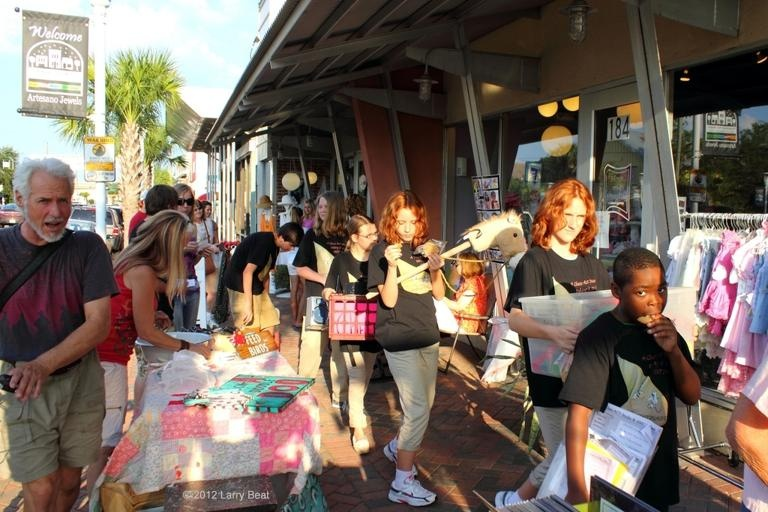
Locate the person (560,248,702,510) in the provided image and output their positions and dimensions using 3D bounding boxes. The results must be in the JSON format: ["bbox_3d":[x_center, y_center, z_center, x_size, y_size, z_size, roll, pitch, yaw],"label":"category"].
[{"bbox_3d":[1.221,0.625,2.548,0.816,1.330,0.341,-2,6,-27],"label":"person"}]

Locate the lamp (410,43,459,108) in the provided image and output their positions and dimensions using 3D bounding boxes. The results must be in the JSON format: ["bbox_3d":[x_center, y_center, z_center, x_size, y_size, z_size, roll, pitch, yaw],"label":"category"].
[{"bbox_3d":[0.874,-3.019,8.477,0.697,0.706,0.310,16,17,12],"label":"lamp"}]

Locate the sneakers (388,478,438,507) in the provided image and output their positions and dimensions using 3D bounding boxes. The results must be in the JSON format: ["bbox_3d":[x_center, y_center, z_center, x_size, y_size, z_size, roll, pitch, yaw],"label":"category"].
[{"bbox_3d":[0.242,1.932,4.223,0.401,0.259,0.179,3,1,2],"label":"sneakers"}]

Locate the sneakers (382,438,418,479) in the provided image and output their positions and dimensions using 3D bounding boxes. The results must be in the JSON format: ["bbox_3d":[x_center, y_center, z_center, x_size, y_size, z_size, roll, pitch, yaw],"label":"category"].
[{"bbox_3d":[0.104,1.885,4.654,0.174,0.254,0.532,7,17,-19],"label":"sneakers"}]

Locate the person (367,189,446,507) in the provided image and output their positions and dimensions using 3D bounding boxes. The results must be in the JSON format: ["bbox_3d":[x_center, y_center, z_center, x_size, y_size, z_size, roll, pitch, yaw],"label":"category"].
[{"bbox_3d":[0.220,0.735,4.320,0.590,2.568,0.699,-2,5,-22],"label":"person"}]

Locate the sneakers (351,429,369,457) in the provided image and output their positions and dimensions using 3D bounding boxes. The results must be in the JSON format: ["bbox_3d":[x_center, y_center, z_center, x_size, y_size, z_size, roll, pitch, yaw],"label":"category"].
[{"bbox_3d":[-0.235,1.831,5.004,0.206,0.212,0.134,3,6,28],"label":"sneakers"}]

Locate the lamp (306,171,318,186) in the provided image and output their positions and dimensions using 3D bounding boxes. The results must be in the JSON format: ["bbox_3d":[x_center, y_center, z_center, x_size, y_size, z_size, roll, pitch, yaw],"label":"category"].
[{"bbox_3d":[-2.310,-2.568,16.472,0.240,0.428,0.418,0,-34,14],"label":"lamp"}]
